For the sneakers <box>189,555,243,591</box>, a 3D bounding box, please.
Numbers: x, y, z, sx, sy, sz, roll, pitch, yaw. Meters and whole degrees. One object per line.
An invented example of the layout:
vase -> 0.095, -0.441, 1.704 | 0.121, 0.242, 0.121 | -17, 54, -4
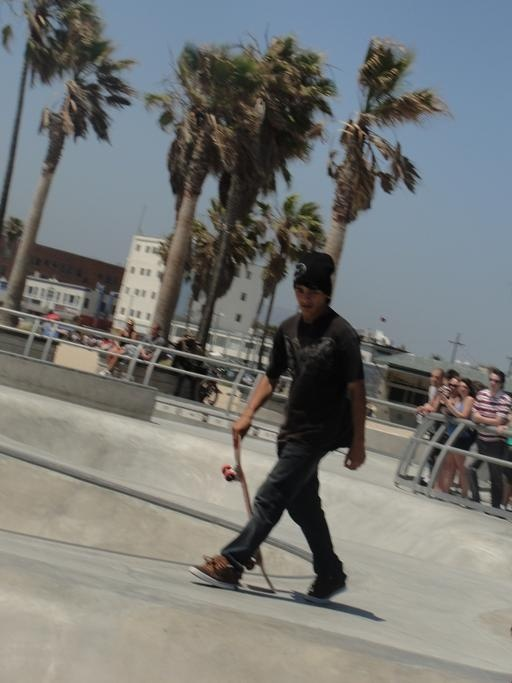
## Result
sneakers -> -0.184, 1.110, 3.368 | 0.296, 0.142, 0.129 | 15, -10, 2

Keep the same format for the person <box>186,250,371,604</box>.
person -> 0.275, 0.436, 3.502 | 0.739, 1.604, 0.525 | 18, -4, -3

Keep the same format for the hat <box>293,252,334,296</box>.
hat -> 0.296, -0.342, 3.422 | 0.211, 0.206, 0.199 | 16, -4, 2

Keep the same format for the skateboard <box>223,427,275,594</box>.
skateboard -> -0.091, 0.820, 3.710 | 0.167, 0.995, 0.213 | -9, -11, 16
